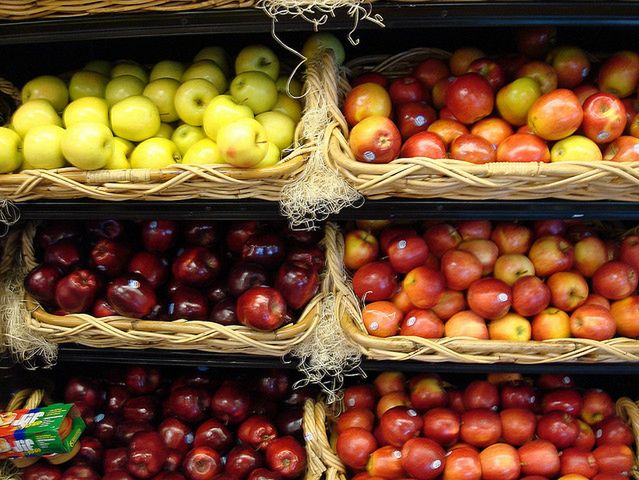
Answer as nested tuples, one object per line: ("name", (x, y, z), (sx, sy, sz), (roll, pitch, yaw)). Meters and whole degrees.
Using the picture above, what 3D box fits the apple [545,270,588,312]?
("apple", (0.871, 0.184, 2.087), (0.143, 0.163, 0.134), (13, -98, -18))

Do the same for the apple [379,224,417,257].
("apple", (0.277, -0.029, 2.130), (0.140, 0.117, 0.121), (-15, -65, -25))

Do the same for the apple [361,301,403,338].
("apple", (0.227, 0.254, 1.976), (0.143, 0.120, 0.123), (-1, -57, 6))

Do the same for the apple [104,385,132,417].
("apple", (-0.809, 0.632, 2.264), (0.097, 0.094, 0.112), (5, -101, -6))

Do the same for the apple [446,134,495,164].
("apple", (0.499, -0.296, 1.865), (0.133, 0.111, 0.113), (5, -56, 9))

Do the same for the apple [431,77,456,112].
("apple", (0.454, -0.554, 2.157), (0.100, 0.120, 0.100), (13, -116, 11))

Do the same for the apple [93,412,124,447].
("apple", (-0.817, 0.712, 2.171), (0.109, 0.111, 0.131), (-6, -98, 33))

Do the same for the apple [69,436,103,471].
("apple", (-0.843, 0.771, 2.106), (0.104, 0.097, 0.104), (-3, -85, 33))

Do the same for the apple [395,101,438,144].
("apple", (0.345, -0.424, 2.145), (0.168, 0.146, 0.142), (-14, -94, 0))

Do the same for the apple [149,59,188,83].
("apple", (-0.565, -0.637, 2.150), (0.109, 0.130, 0.109), (-7, -58, -4))

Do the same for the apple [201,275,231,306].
("apple", (-0.385, 0.184, 2.192), (0.102, 0.125, 0.102), (-30, -85, -28))

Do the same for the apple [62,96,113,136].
("apple", (-0.804, -0.416, 2.043), (0.142, 0.145, 0.148), (-1, -42, 0))

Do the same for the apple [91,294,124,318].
("apple", (-0.765, 0.233, 2.067), (0.082, 0.078, 0.079), (-26, -65, -33))

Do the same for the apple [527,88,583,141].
("apple", (0.793, -0.427, 1.903), (0.144, 0.145, 0.172), (-14, -53, -34))

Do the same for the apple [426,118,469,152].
("apple", (0.455, -0.390, 2.079), (0.126, 0.121, 0.145), (-2, -89, -20))

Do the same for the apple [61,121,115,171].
("apple", (-0.751, -0.312, 1.926), (0.180, 0.152, 0.151), (2, -85, 5))

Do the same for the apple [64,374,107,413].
("apple", (-0.926, 0.606, 2.255), (0.161, 0.088, 0.101), (23, -79, -5))

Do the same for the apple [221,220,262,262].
("apple", (-0.292, 0.001, 2.158), (0.087, 0.086, 0.104), (36, -62, -27))

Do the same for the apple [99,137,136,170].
("apple", (-0.679, -0.287, 1.939), (0.114, 0.107, 0.111), (-8, -103, -3))

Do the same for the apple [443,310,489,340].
("apple", (0.503, 0.283, 2.004), (0.129, 0.111, 0.109), (-15, -83, -12))

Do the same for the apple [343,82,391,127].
("apple", (0.164, -0.482, 2.080), (0.147, 0.155, 0.157), (-16, -88, -6))

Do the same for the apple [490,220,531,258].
("apple", (0.717, -0.007, 2.194), (0.137, 0.136, 0.162), (10, -89, -30))

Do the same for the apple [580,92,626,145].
("apple", (0.922, -0.416, 1.924), (0.157, 0.154, 0.151), (-11, -67, -35))

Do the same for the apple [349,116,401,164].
("apple", (0.179, -0.329, 1.911), (0.148, 0.149, 0.150), (-9, -71, -5))

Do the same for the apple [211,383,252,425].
("apple", (-0.322, 0.628, 2.251), (0.141, 0.148, 0.169), (21, -100, -1))

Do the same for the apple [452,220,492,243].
("apple", (0.584, -0.042, 2.138), (0.111, 0.093, 0.094), (1, -49, 9))

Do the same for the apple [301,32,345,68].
("apple", (0.020, -0.716, 2.139), (0.124, 0.146, 0.127), (-9, -36, 30))

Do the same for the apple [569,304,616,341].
("apple", (0.937, 0.287, 2.017), (0.130, 0.123, 0.125), (-8, -33, -14))

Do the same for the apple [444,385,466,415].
("apple", (0.522, 0.610, 2.186), (0.085, 0.085, 0.102), (3, -93, 0))

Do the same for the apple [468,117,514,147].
("apple", (0.613, -0.361, 2.047), (0.119, 0.112, 0.113), (30, -109, -50))

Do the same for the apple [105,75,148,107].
("apple", (-0.692, -0.529, 2.037), (0.090, 0.108, 0.091), (30, -39, 27))

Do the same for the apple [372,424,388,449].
("apple", (0.216, 0.709, 2.063), (0.066, 0.066, 0.079), (2, -87, 8))

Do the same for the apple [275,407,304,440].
("apple", (-0.110, 0.696, 2.241), (0.110, 0.096, 0.124), (-3, -38, -31))

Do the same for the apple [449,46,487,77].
("apple", (0.561, -0.690, 2.183), (0.118, 0.117, 0.117), (5, -92, -3))

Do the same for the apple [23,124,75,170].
("apple", (-0.952, -0.310, 1.928), (0.119, 0.118, 0.135), (-10, -82, -34))

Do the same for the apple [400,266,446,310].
("apple", (0.376, 0.167, 2.015), (0.163, 0.119, 0.151), (2, -78, 0))

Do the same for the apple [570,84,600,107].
("apple", (0.941, -0.527, 2.026), (0.105, 0.089, 0.088), (9, -89, 18))

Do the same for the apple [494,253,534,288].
("apple", (0.691, 0.098, 2.075), (0.117, 0.140, 0.120), (-18, -85, 18))

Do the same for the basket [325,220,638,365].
("basket", (0.491, 0.176, 1.828), (0.720, 0.463, 0.147), (1, -44, 1))

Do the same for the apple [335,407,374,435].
("apple", (0.135, 0.665, 2.125), (0.109, 0.102, 0.103), (3, -62, 2))

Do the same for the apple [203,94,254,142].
("apple", (-0.305, -0.399, 1.879), (0.119, 0.120, 0.138), (35, -67, 6))

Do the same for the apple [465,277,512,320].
("apple", (0.575, 0.200, 1.984), (0.160, 0.136, 0.143), (-2, -108, 4))

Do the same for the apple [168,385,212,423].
("apple", (-0.526, 0.632, 2.215), (0.109, 0.113, 0.139), (10, -108, 1))

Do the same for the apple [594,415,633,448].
("apple", (1.098, 0.704, 2.153), (0.114, 0.109, 0.132), (46, -117, -45))

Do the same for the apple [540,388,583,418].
("apple", (0.915, 0.596, 2.155), (0.152, 0.120, 0.115), (-2, -94, 40))
